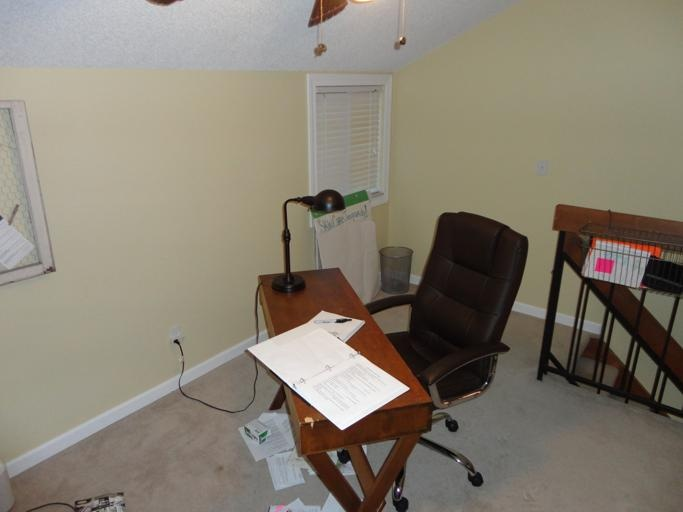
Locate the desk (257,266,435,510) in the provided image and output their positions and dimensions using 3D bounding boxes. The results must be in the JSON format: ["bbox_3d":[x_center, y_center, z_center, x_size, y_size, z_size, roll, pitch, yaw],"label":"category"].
[{"bbox_3d":[0.018,0.776,2.906,0.407,0.826,1.053,-10,30,-11],"label":"desk"}]

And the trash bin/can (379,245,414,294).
[{"bbox_3d":[0.571,0.130,5.300,0.416,0.455,0.387,4,22,8],"label":"trash bin/can"}]

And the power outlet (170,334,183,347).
[{"bbox_3d":[-1.198,0.599,3.776,0.057,0.091,0.088,0,7,-38],"label":"power outlet"}]
